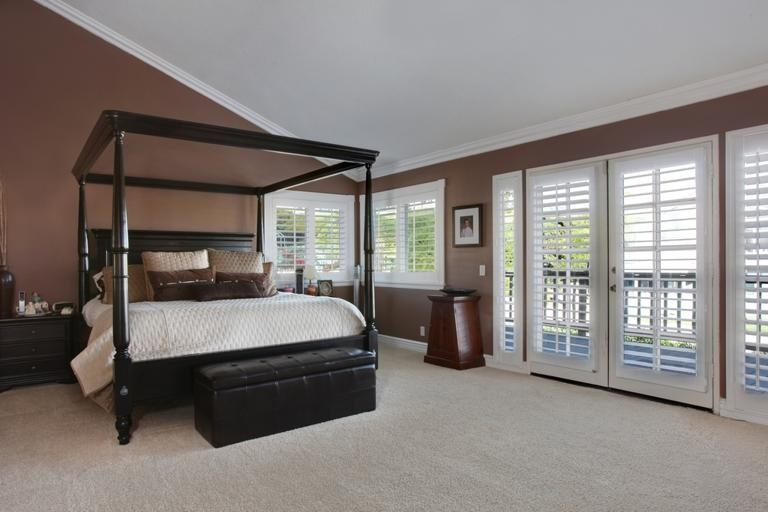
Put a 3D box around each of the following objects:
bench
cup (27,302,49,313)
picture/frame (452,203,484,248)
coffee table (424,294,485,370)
[{"bbox_3d":[-0.968,1.341,5.106,1.827,0.672,0.599,0,2,-42],"label":"bench"},{"bbox_3d":[-4.297,0.638,6.133,0.215,0.096,0.136,-4,-5,40],"label":"cup"},{"bbox_3d":[1.193,-0.427,7.005,0.057,0.733,0.636,-2,3,-38],"label":"picture/frame"},{"bbox_3d":[0.987,1.016,6.916,0.682,0.914,0.795,-2,-1,-30],"label":"coffee table"}]
